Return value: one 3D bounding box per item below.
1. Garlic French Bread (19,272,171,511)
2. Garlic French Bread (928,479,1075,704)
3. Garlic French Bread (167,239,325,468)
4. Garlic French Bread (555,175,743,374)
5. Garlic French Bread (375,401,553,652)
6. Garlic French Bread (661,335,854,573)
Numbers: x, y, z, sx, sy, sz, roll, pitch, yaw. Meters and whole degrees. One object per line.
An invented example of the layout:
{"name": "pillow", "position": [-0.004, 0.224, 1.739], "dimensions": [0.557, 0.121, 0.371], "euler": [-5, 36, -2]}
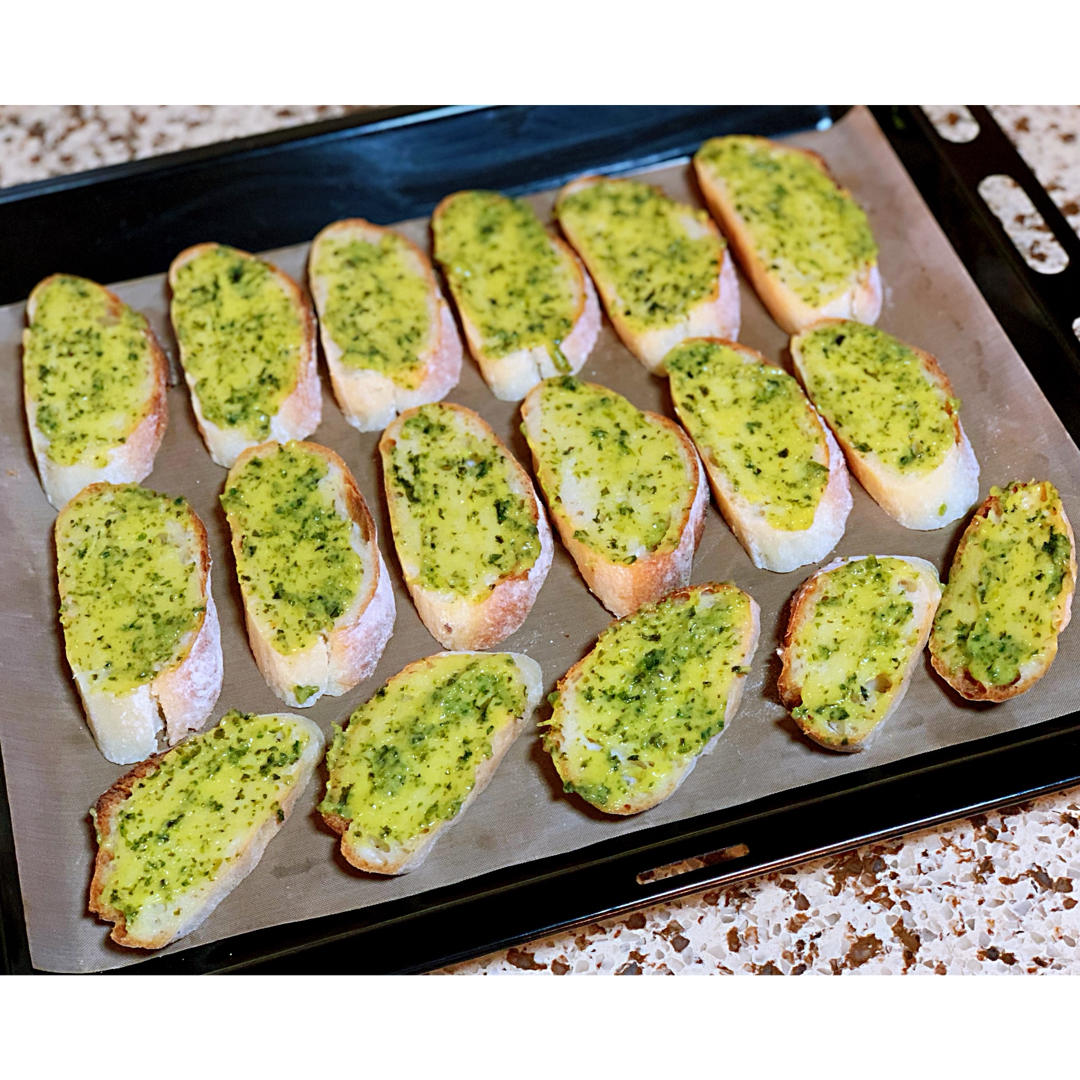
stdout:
{"name": "Garlic French Bread", "position": [-0.681, -0.263, 1.784], "dimensions": [0.201, 0.082, 0.352], "euler": [-13, 70, -16]}
{"name": "Garlic French Bread", "position": [0.627, 0.076, 1.551], "dimensions": [0.180, 0.071, 0.324], "euler": [16, 80, 25]}
{"name": "Garlic French Bread", "position": [-0.488, -0.286, 1.849], "dimensions": [0.262, 0.477, 0.101], "euler": [-31, 65, -26]}
{"name": "Garlic French Bread", "position": [0.186, -0.462, 1.909], "dimensions": [0.243, 0.086, 0.434], "euler": [-14, 52, -7]}
{"name": "Garlic French Bread", "position": [-0.102, -0.037, 1.666], "dimensions": [0.218, 0.092, 0.369], "euler": [-12, 61, -1]}
{"name": "Garlic French Bread", "position": [0.333, -0.146, 1.720], "dimensions": [0.217, 0.092, 0.396], "euler": [-19, 58, -5]}
